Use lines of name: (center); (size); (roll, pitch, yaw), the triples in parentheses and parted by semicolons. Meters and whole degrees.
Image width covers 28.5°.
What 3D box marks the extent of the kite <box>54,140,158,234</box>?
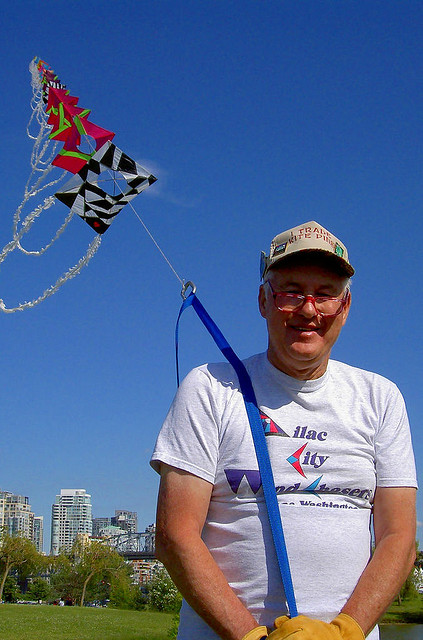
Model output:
kite: (-0.795, -0.992, 6.094); (0.422, 0.838, 0.736); (-8, -18, 21)

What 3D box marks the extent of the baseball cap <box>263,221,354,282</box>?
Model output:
baseball cap: (0.413, -0.291, 3.572); (0.367, 0.212, 0.464); (3, -17, -7)

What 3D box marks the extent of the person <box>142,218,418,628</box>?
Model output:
person: (0.303, 0.380, 3.377); (1.082, 1.607, 0.512); (0, -17, -4)
